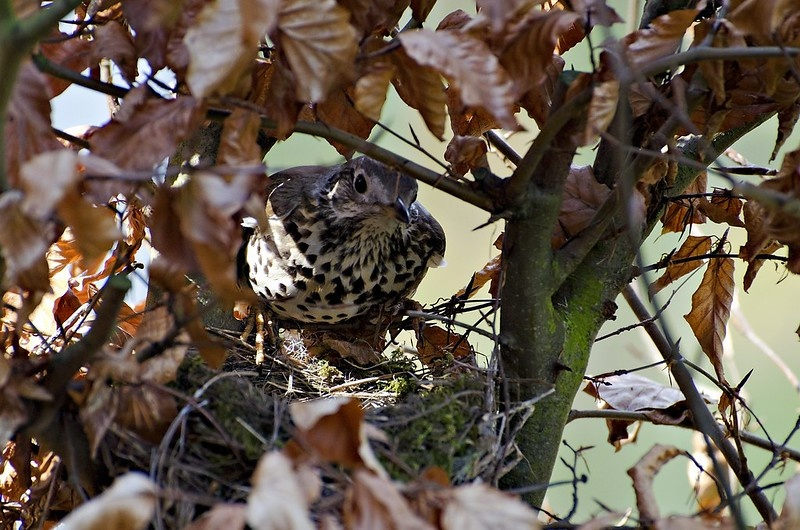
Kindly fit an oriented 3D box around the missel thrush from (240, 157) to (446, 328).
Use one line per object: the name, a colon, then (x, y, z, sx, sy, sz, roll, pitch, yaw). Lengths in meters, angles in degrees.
missel thrush: (-0.175, -0.064, 3.281, 0.354, 0.517, 0.336, -6, -51, -35)
